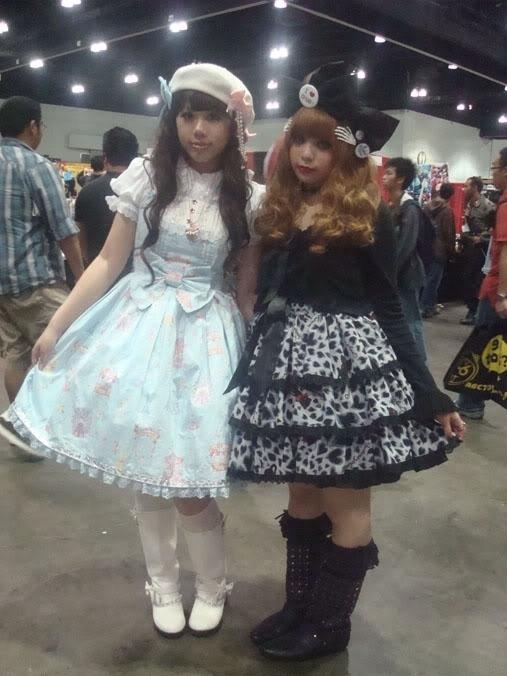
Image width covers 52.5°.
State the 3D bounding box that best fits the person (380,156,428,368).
[{"bbox_3d":[1.035,-0.501,3.786,0.476,1.545,0.450,-3,10,-1],"label":"person"}]

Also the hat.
[{"bbox_3d":[-0.108,-0.562,1.291,0.214,0.169,0.218,11,24,13],"label":"hat"}]

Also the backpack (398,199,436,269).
[{"bbox_3d":[1.083,-0.777,3.723,0.281,0.420,0.223,-10,18,-32],"label":"backpack"}]

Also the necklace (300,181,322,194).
[{"bbox_3d":[0.130,-0.341,1.169,0.037,0.010,0.037,-1,-5,24],"label":"necklace"}]

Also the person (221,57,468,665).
[{"bbox_3d":[0.202,0.121,1.125,0.490,1.365,0.385,3,7,13],"label":"person"}]
